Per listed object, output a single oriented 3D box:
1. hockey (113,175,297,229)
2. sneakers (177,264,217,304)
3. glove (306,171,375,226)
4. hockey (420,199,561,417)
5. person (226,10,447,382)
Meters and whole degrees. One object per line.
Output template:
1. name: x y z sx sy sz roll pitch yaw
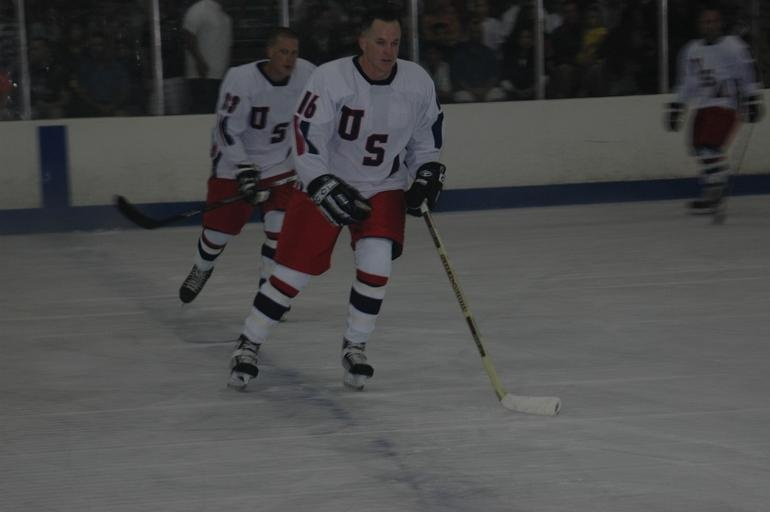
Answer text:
1. hockey: -0.961 -0.291 6.518 0.100 0.274 1.307 -34 11 -33
2. sneakers: -1.089 0.170 7.528 0.141 0.106 0.343 -33 13 37
3. glove: -0.229 -0.274 6.275 0.324 0.178 0.124 36 36 3
4. hockey: 0.577 0.312 7.318 0.345 0.074 1.809 -17 45 -6
5. person: -0.224 -0.279 6.362 1.062 1.862 0.565 0 17 -9
